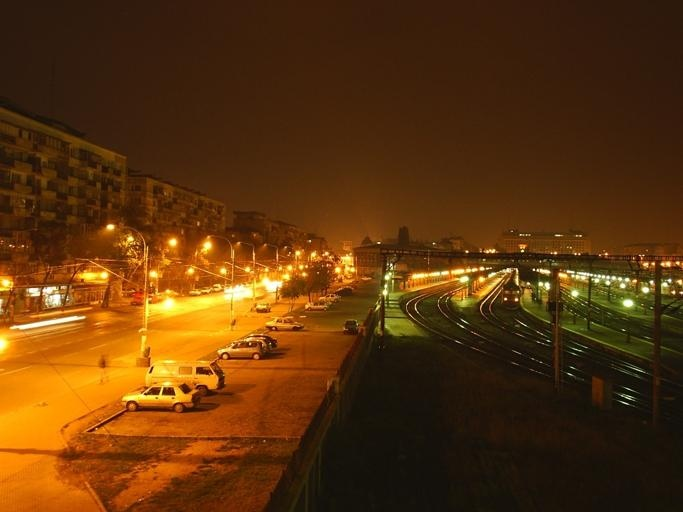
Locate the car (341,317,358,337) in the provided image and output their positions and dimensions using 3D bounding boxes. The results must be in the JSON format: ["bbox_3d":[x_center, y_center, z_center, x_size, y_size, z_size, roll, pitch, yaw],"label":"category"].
[{"bbox_3d":[0.682,6.904,56.049,0.995,0.917,1.926,2,4,5],"label":"car"}]

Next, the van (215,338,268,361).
[{"bbox_3d":[-7.563,7.142,44.694,2.496,1.141,1.726,2,-5,1],"label":"van"}]

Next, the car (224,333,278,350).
[{"bbox_3d":[-6.695,6.825,47.247,2.853,1.044,1.368,3,-4,1],"label":"car"}]

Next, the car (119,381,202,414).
[{"bbox_3d":[-10.308,8.304,34.389,3.342,1.317,1.928,3,-3,3],"label":"car"}]

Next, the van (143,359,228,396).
[{"bbox_3d":[-9.480,7.845,36.947,3.915,1.883,2.230,0,0,3],"label":"van"}]

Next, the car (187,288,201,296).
[{"bbox_3d":[-23.244,5.916,92.343,1.058,0.878,1.767,3,-1,-41],"label":"car"}]
